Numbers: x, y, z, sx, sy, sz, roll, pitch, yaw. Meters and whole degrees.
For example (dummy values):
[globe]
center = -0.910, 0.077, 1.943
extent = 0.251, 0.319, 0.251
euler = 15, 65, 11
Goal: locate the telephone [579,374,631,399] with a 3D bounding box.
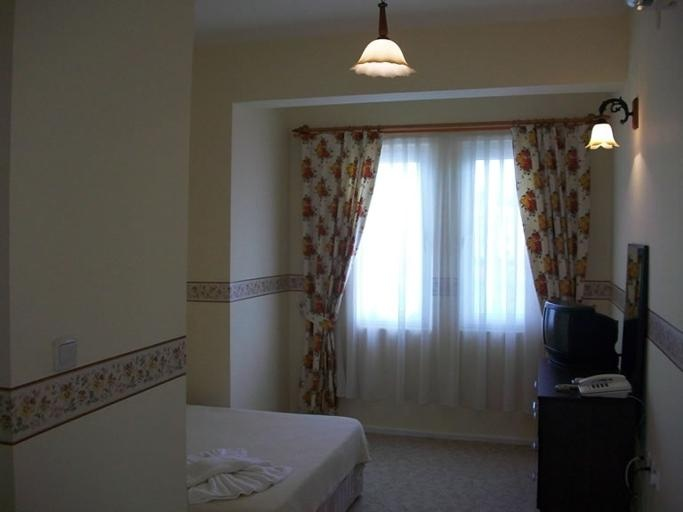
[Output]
[telephone]
center = 1.641, 0.791, 3.574
extent = 0.200, 0.079, 0.175
euler = 0, 1, 8

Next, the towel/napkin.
[towel/napkin]
center = -0.613, 1.260, 3.399
extent = 0.584, 0.104, 0.573
euler = 1, 4, -18

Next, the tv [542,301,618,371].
[tv]
center = 1.791, 0.529, 4.301
extent = 0.423, 0.491, 0.457
euler = 12, 15, 33

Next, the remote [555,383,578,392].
[remote]
center = 1.440, 0.846, 3.685
extent = 0.079, 0.022, 0.060
euler = -4, 2, -9

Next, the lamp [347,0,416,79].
[lamp]
center = 0.262, -1.131, 3.344
extent = 0.409, 0.523, 0.459
euler = 1, 4, 15
